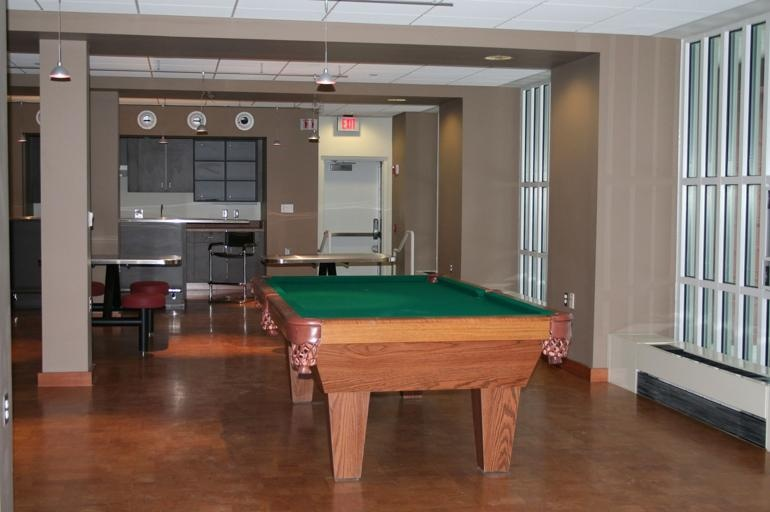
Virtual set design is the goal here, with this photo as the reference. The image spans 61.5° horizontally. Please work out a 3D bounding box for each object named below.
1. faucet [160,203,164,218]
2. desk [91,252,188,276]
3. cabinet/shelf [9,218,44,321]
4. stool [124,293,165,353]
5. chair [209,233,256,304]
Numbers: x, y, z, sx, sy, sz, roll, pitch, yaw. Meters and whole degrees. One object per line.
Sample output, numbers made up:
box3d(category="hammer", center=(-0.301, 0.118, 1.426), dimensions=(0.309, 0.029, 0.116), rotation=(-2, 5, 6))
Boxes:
box3d(category="faucet", center=(-4.460, -0.907, 12.835), dimensions=(0.093, 0.253, 0.075), rotation=(1, 10, 1))
box3d(category="desk", center=(-3.060, 0.068, 7.835), dimensions=(0.953, 0.187, 0.563), rotation=(-1, 10, -7))
box3d(category="cabinet/shelf", center=(-5.735, 0.129, 10.257), dimensions=(0.458, 1.448, 0.312), rotation=(-4, 11, -27))
box3d(category="stool", center=(-3.001, 0.780, 7.989), dimensions=(0.463, 0.676, 0.897), rotation=(-3, 9, -22))
box3d(category="chair", center=(-2.776, 0.154, 11.700), dimensions=(0.968, 1.201, 0.936), rotation=(-2, 4, -22))
